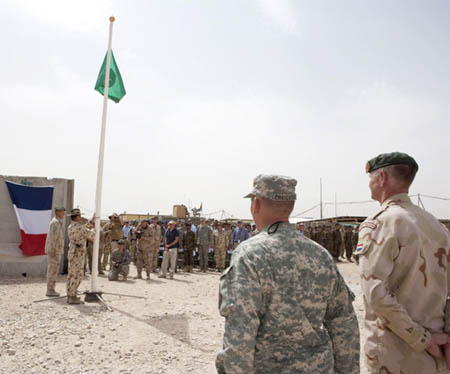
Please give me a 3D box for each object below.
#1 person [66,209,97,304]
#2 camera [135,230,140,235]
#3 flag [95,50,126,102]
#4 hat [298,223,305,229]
[{"bbox_3d":[-3.115,1.450,8.968,0.501,1.959,1.528,3,-3,-20],"label":"person"},{"bbox_3d":[-2.757,1.453,13.253,0.133,0.084,0.184,10,-13,-32],"label":"camera"},{"bbox_3d":[-2.615,-2.645,9.635,0.655,1.709,0.218,7,-33,-22],"label":"flag"},{"bbox_3d":[4.684,2.417,25.700,0.527,0.425,0.596,0,-2,15],"label":"hat"}]
